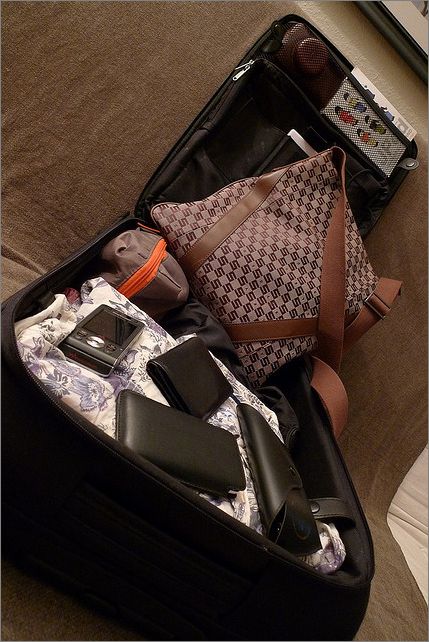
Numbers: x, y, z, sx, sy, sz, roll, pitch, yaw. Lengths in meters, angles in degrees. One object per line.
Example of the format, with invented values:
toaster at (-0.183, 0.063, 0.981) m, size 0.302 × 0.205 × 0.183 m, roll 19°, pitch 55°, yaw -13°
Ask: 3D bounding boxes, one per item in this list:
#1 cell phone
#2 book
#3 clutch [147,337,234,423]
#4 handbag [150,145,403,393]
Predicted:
cell phone at (-0.133, 0.020, 0.619) m, size 0.069 × 0.071 × 0.093 m, roll 40°, pitch 16°, yaw -8°
book at (0.301, -0.384, 1.050) m, size 0.238 × 0.149 × 0.055 m, roll 42°, pitch -12°, yaw -18°
clutch at (-0.037, 0.087, 0.666) m, size 0.105 × 0.024 × 0.090 m, roll 51°, pitch 31°, yaw -4°
handbag at (0.065, -0.037, 0.975) m, size 0.152 × 0.421 × 0.418 m, roll -12°, pitch -76°, yaw 62°
